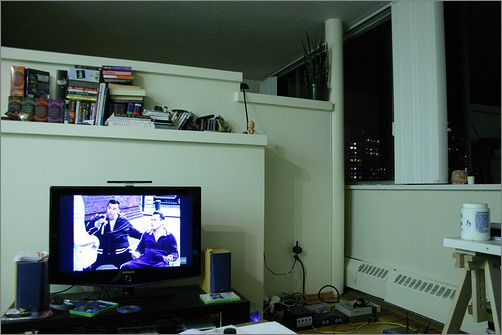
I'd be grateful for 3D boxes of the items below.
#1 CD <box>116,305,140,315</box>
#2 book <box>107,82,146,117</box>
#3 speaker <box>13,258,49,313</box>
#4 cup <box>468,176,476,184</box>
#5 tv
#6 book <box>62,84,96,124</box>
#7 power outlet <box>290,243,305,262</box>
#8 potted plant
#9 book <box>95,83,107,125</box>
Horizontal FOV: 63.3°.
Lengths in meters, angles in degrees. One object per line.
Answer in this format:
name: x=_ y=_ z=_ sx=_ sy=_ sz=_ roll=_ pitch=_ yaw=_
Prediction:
CD: x=-0.991 y=1.148 z=3.297 sx=0.191 sy=0.046 sz=0.108 roll=2 pitch=1 yaw=-15
book: x=-1.241 y=-0.657 z=4.107 sx=0.336 sy=0.205 sz=0.334 roll=1 pitch=1 yaw=-39
speaker: x=-1.752 y=0.931 z=3.265 sx=0.242 sy=0.305 sz=0.162 roll=2 pitch=1 yaw=-28
cup: x=2.066 y=0.117 z=3.795 sx=0.070 sy=0.078 sz=0.069 roll=0 pitch=2 yaw=0
tv: x=-1.099 y=0.584 z=3.455 sx=0.930 sy=0.647 sz=0.102 roll=0 pitch=-4 yaw=-13
book: x=-1.664 y=-0.605 z=3.917 sx=0.361 sy=0.489 sz=0.265 roll=6 pitch=2 yaw=-22
power outlet: x=0.547 y=0.961 z=4.679 sx=0.133 sy=0.213 sz=0.108 roll=2 pitch=1 yaw=0
potted plant: x=0.846 y=-1.303 z=5.226 sx=0.327 sy=0.838 sz=0.775 roll=2 pitch=1 yaw=7
book: x=-1.465 y=-0.624 z=3.971 sx=0.054 sy=0.534 sz=0.394 roll=4 pitch=3 yaw=-15
